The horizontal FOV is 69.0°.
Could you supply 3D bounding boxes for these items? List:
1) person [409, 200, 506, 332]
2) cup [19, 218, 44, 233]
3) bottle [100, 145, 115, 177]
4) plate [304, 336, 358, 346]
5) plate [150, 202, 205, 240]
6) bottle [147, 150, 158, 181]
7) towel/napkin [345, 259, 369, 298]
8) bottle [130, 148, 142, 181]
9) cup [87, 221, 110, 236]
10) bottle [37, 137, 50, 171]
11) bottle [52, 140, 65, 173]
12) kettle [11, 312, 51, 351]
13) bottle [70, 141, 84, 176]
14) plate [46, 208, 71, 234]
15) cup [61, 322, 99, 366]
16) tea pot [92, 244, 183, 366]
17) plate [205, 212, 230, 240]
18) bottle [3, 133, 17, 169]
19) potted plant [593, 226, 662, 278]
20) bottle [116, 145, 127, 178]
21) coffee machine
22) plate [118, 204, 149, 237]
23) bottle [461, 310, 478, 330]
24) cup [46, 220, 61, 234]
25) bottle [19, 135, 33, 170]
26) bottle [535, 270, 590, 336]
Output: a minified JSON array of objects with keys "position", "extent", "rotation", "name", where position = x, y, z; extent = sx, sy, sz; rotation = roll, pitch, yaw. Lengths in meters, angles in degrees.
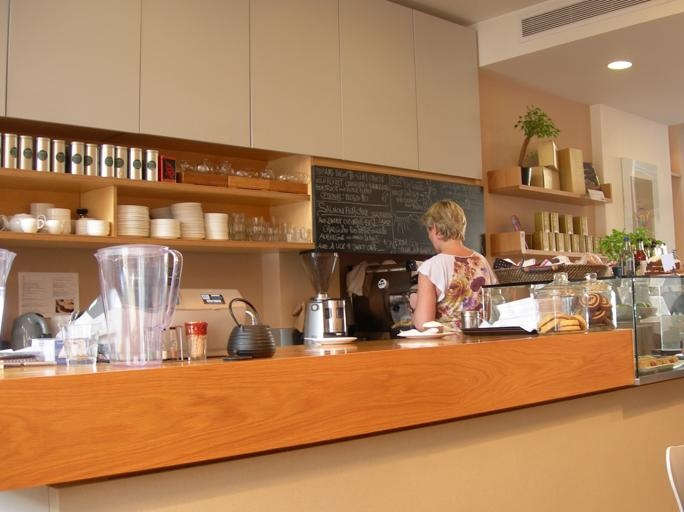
[{"position":[0.621,0.031,2.758],"extent":[0.447,0.712,0.342],"rotation":[-4,-5,13],"name":"person"},{"position":[-1.625,-0.164,2.615],"extent":[0.055,0.089,0.117],"rotation":[-4,-5,20],"name":"cup"},{"position":[-1.309,-0.530,2.774],"extent":[0.075,0.182,0.033],"rotation":[0,-6,-23],"name":"bottle"},{"position":[-0.051,0.333,1.952],"extent":[0.165,0.026,0.159],"rotation":[-1,-2,15],"name":"plate"},{"position":[-0.979,-0.215,3.061],"extent":[0.312,0.203,0.203],"rotation":[-3,-3,13],"name":"plate"},{"position":[-1.111,-0.530,2.912],"extent":[0.075,0.186,0.037],"rotation":[0,-6,-22],"name":"bottle"},{"position":[0.105,0.176,3.870],"extent":[0.099,0.223,0.234],"rotation":[18,-8,-32],"name":"towel/napkin"},{"position":[-1.184,-0.527,2.866],"extent":[0.076,0.191,0.043],"rotation":[1,-6,-34],"name":"bottle"},{"position":[-1.349,-0.151,2.734],"extent":[0.093,0.064,0.091],"rotation":[-1,0,0],"name":"cup"},{"position":[-1.574,-0.526,2.611],"extent":[0.065,0.175,0.045],"rotation":[1,-6,-31],"name":"bottle"},{"position":[-1.511,-0.530,2.649],"extent":[0.066,0.177,0.033],"rotation":[1,-6,-31],"name":"bottle"},{"position":[-1.661,0.392,2.658],"extent":[0.165,0.189,0.415],"rotation":[2,-6,-38],"name":"kettle"},{"position":[-1.434,-0.528,2.693],"extent":[0.071,0.182,0.034],"rotation":[0,-6,-25],"name":"bottle"},{"position":[-1.513,-0.196,2.682],"extent":[0.155,0.121,0.097],"rotation":[-2,-4,26],"name":"plate"},{"position":[-0.676,0.225,1.284],"extent":[0.113,0.124,0.112],"rotation":[-1,-11,0],"name":"cup"},{"position":[-0.449,0.106,1.278],"extent":[0.327,0.330,0.248],"rotation":[0,-1,-19],"name":"tea pot"},{"position":[-0.788,-0.189,3.128],"extent":[0.165,0.169,0.170],"rotation":[0,-1,41],"name":"plate"},{"position":[-1.693,-0.530,2.531],"extent":[0.067,0.178,0.038],"rotation":[1,-6,-33],"name":"bottle"},{"position":[2.138,-0.040,3.766],"extent":[0.461,0.418,0.342],"rotation":[2,-7,-28],"name":"potted plant"},{"position":[-1.250,-0.531,2.822],"extent":[0.067,0.178,0.029],"rotation":[1,-6,-35],"name":"bottle"},{"position":[0.357,0.302,3.702],"extent":[0.317,0.540,0.609],"rotation":[0,-5,-21],"name":"coffee machine"},{"position":[-1.192,-0.200,2.841],"extent":[0.189,0.173,0.174],"rotation":[-2,-2,4],"name":"plate"},{"position":[0.557,0.274,2.153],"extent":[0.095,0.061,0.056],"rotation":[1,-7,1],"name":"bottle"},{"position":[-1.538,-0.158,2.648],"extent":[0.071,0.064,0.072],"rotation":[1,3,0],"name":"cup"},{"position":[-1.639,-0.529,2.576],"extent":[0.066,0.177,0.043],"rotation":[1,-6,-32],"name":"bottle"},{"position":[0.860,0.180,1.936],"extent":[0.205,0.226,0.139],"rotation":[-4,-5,16],"name":"bottle"}]
